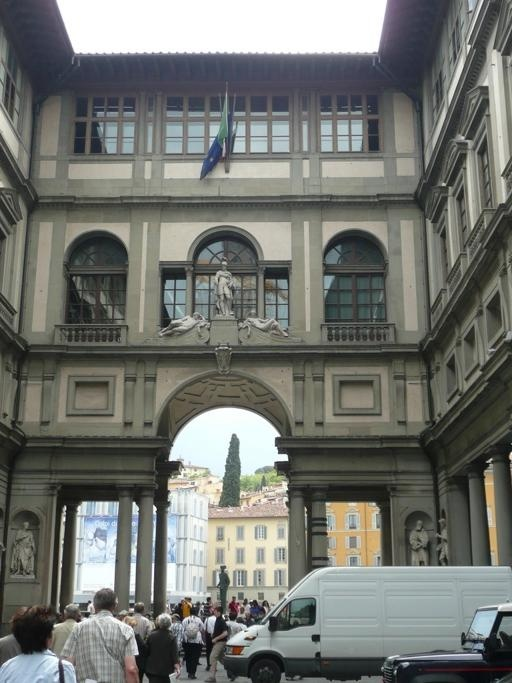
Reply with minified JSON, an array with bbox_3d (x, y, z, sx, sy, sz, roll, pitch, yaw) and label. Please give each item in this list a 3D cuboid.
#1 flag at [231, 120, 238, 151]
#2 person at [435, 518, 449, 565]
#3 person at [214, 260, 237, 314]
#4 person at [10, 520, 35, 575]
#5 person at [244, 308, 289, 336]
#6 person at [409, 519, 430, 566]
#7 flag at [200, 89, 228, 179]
[{"bbox_3d":[-0.977,-9.078,32.147,0.296,1.544,0.115,9,-23,-23],"label":"flag"},{"bbox_3d":[6.728,7.204,26.787,0.428,1.777,1.545,-4,-22,12],"label":"person"},{"bbox_3d":[-1.296,-2.385,30.213,0.830,2.900,1.406,1,-21,-2],"label":"person"},{"bbox_3d":[-8.789,7.898,27.894,0.953,1.940,0.362,8,-22,-18],"label":"person"},{"bbox_3d":[0.303,-0.801,29.605,1.219,0.903,0.573,8,-45,8],"label":"person"},{"bbox_3d":[6.112,7.514,27.746,0.791,1.649,0.459,-4,-21,12],"label":"person"},{"bbox_3d":[-1.674,-9.123,31.825,1.331,4.113,0.710,-16,-26,37],"label":"flag"}]
